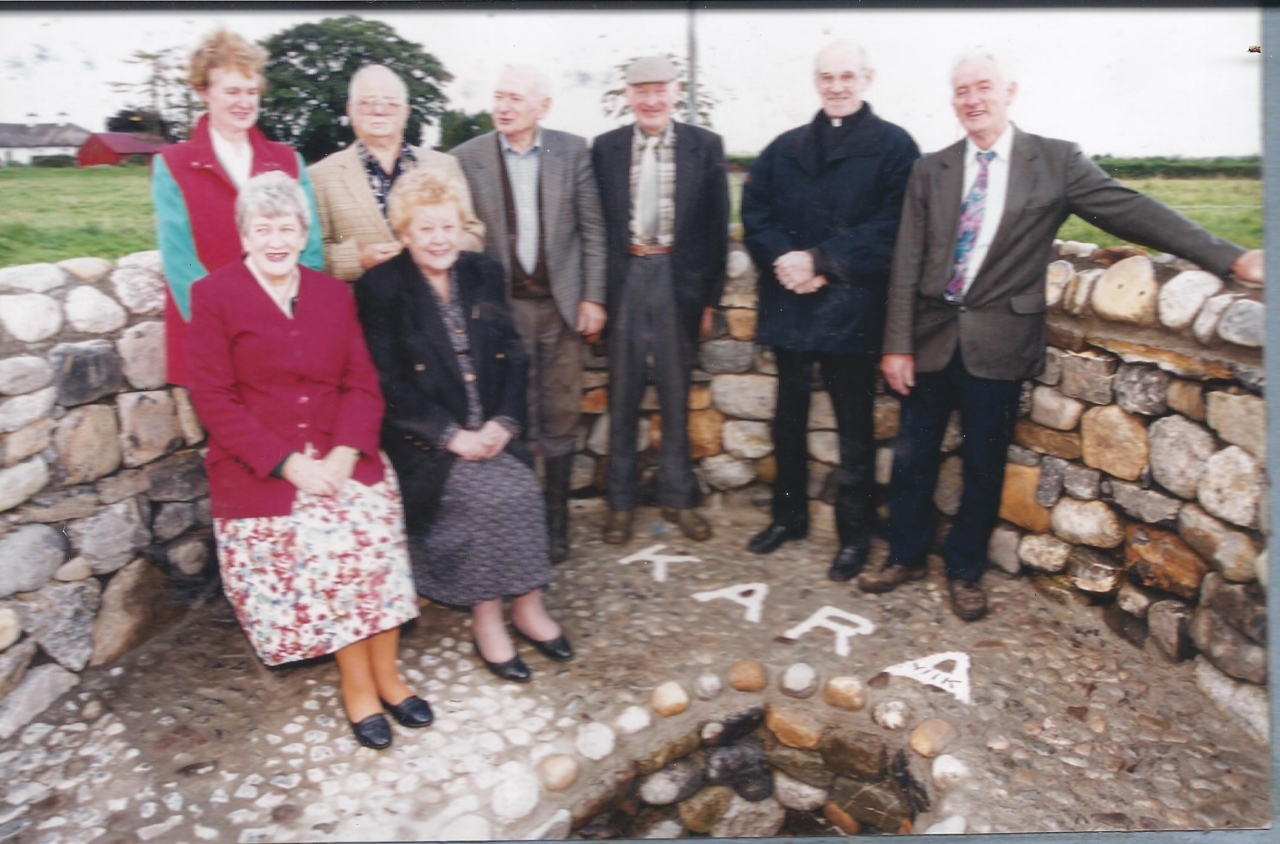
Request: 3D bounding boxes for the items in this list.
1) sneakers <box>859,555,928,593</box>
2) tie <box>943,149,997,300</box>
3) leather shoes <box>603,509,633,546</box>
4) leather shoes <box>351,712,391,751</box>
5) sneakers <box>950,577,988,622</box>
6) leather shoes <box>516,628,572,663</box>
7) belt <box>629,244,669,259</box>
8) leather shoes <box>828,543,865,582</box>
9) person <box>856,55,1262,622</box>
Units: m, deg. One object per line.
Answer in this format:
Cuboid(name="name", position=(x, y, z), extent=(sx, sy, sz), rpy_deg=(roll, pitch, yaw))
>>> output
Cuboid(name="sneakers", position=(1.076, 0.657, 3.906), extent=(0.372, 0.096, 0.109), rpy_deg=(-10, -2, -13))
Cuboid(name="tie", position=(1.335, -0.832, 3.725), extent=(0.159, 0.560, 0.093), rpy_deg=(14, 21, 9))
Cuboid(name="leather shoes", position=(-0.087, 0.446, 3.828), extent=(0.131, 0.128, 0.092), rpy_deg=(-2, 26, 1))
Cuboid(name="leather shoes", position=(-0.999, 1.154, 3.385), extent=(0.111, 0.052, 0.195), rpy_deg=(-16, 26, -37))
Cuboid(name="sneakers", position=(1.387, 0.751, 3.775), extent=(0.132, 0.037, 0.173), rpy_deg=(2, 29, 12))
Cuboid(name="leather shoes", position=(-0.379, 0.900, 3.654), extent=(0.230, 0.036, 0.081), rpy_deg=(25, 38, 17))
Cuboid(name="belt", position=(0.044, -0.734, 3.839), extent=(0.155, 0.053, 0.028), rpy_deg=(-2, 27, -2))
Cuboid(name="leather shoes", position=(0.901, 0.592, 3.864), extent=(0.253, 0.081, 0.088), rpy_deg=(-31, 20, -32))
Cuboid(name="person", position=(1.639, -0.314, 3.569), extent=(1.285, 2.205, 0.885), rpy_deg=(3, 29, 11))
